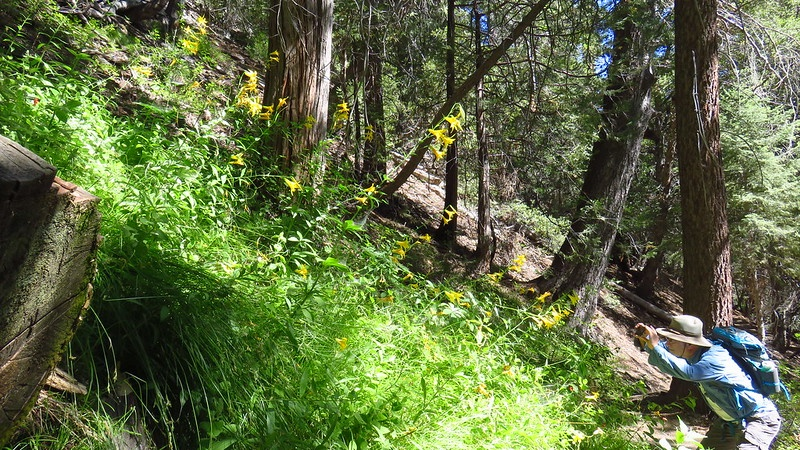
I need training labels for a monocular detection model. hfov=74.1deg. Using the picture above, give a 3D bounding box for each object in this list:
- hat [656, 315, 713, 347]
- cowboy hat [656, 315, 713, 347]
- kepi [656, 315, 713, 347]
[{"bbox_3d":[3.607,1.339,6.749,0.464,0.247,0.474,5,7,18],"label":"hat"},{"bbox_3d":[3.600,1.326,6.745,0.464,0.247,0.474,5,7,18],"label":"cowboy hat"},{"bbox_3d":[3.611,1.342,6.748,0.464,0.247,0.474,5,7,18],"label":"kepi"}]
